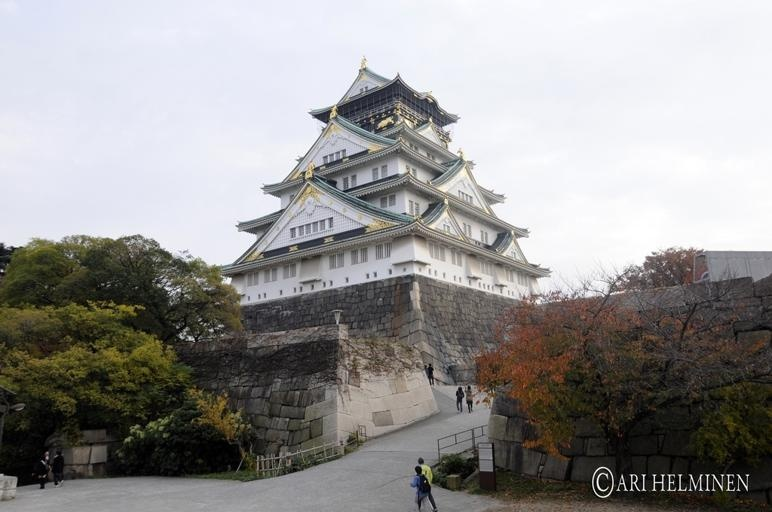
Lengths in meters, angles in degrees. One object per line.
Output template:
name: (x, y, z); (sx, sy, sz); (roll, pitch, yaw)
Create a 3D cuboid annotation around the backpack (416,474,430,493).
backpack: (1.191, 7.368, 17.512); (0.562, 0.607, 0.357); (7, -26, -40)

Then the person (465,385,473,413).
person: (4.500, 7.680, 28.988); (0.347, 1.359, 1.462); (-3, 0, 5)

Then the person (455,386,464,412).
person: (4.040, 7.799, 29.691); (0.394, 1.333, 1.252); (-3, 0, 4)
